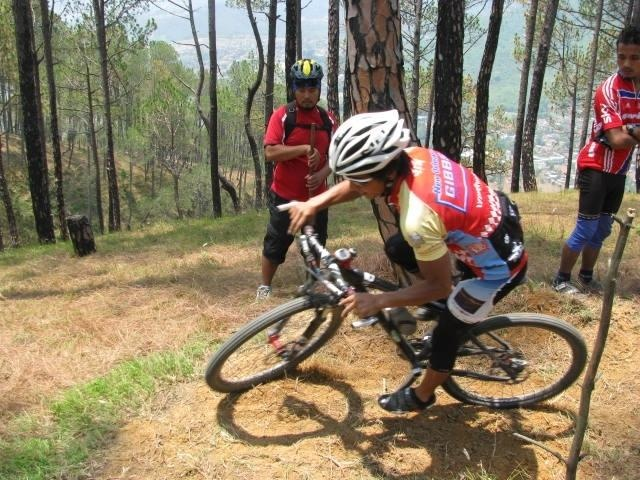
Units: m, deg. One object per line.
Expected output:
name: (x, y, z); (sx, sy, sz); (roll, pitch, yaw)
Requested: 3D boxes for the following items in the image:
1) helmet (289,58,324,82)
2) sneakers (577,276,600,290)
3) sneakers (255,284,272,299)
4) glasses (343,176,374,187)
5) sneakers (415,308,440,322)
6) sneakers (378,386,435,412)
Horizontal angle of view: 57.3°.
helmet: (-0.171, -2.115, 7.353); (0.369, 0.262, 0.230); (-3, 14, -2)
sneakers: (3.495, 0.589, 7.652); (0.307, 0.134, 0.113); (16, 46, 7)
sneakers: (-0.764, 0.731, 8.112); (0.132, 0.283, 0.111); (-8, -9, 33)
glasses: (0.360, -0.533, 5.501); (0.146, 0.094, 0.206); (-15, 18, -41)
sneakers: (1.101, 0.779, 6.005); (0.226, 0.112, 0.150); (-7, -13, 5)
sneakers: (0.852, 1.675, 6.027); (0.615, 0.247, 0.233); (-1, 20, 3)
